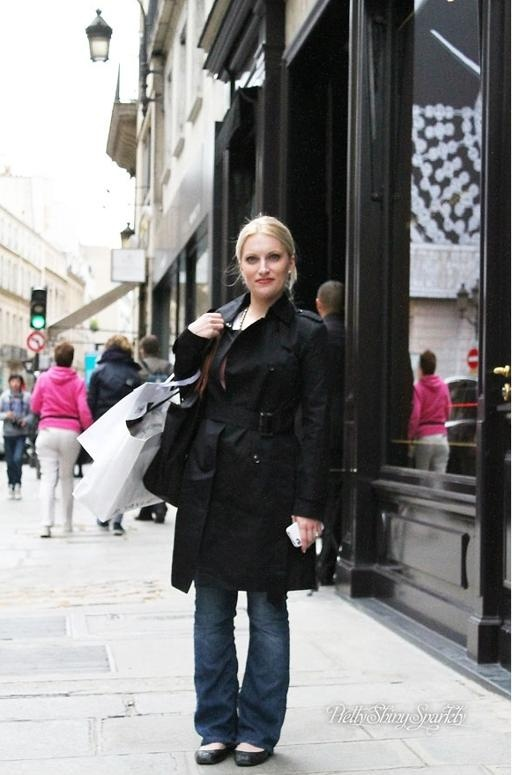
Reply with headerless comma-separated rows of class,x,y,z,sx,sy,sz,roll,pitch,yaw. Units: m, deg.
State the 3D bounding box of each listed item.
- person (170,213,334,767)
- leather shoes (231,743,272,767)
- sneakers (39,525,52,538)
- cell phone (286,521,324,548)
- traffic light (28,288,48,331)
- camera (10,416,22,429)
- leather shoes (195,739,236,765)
person,-0.043,0.298,2.909,0.490,1.701,0.328,4,0,-5
leather shoes,-0.001,1.126,2.856,0.150,0.054,0.073,4,0,-26
sneakers,-1.882,1.277,8.318,0.064,0.080,0.134,2,2,-6
cell phone,0.144,0.453,2.801,0.079,0.103,0.031,-40,19,-14
traffic light,-3.522,-1.304,15.024,0.276,0.665,0.437,4,0,-14
camera,-3.524,0.479,13.627,0.119,0.140,0.199,3,3,-7
leather shoes,-0.122,1.122,2.873,0.153,0.064,0.069,4,0,-44
